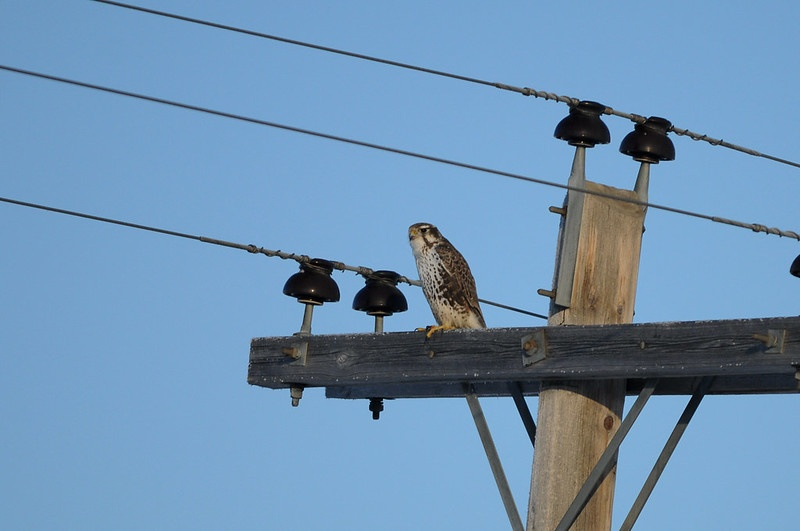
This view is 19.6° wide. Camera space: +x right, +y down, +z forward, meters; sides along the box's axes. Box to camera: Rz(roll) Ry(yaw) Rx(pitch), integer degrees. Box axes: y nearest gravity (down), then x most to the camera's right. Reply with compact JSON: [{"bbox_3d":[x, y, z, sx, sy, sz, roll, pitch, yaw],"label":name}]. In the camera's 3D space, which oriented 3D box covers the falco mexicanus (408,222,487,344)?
[{"bbox_3d":[0.436,0.107,17.721,0.785,0.873,0.420,7,-12,-16],"label":"falco mexicanus"}]
